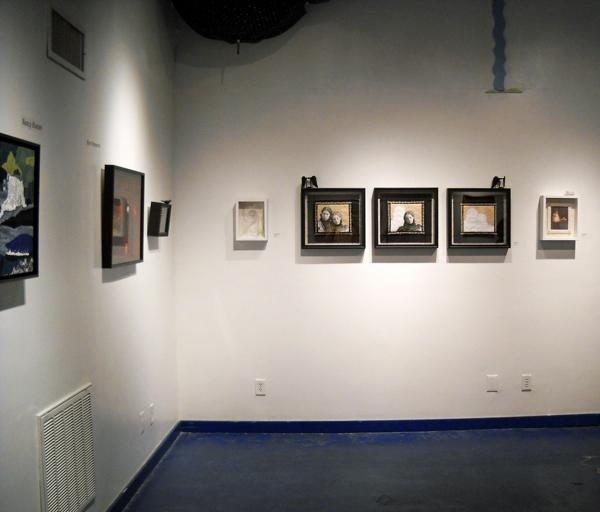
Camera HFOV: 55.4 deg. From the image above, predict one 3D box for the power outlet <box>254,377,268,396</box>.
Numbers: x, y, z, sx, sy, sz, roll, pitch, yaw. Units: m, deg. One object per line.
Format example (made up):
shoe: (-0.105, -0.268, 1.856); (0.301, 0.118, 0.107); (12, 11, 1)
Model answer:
power outlet: (-0.299, 0.999, 4.397); (0.090, 0.169, 0.102); (0, 1, 2)

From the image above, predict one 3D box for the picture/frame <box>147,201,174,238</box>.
picture/frame: (-1.000, -0.269, 3.940); (0.075, 0.241, 0.222); (8, 5, 32)

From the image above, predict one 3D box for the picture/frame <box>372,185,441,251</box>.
picture/frame: (0.805, -0.295, 4.347); (0.368, 0.434, 0.045); (-1, 1, 0)

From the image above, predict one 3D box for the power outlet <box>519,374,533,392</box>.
power outlet: (1.764, 0.976, 4.439); (0.081, 0.137, 0.021); (1, 3, -15)

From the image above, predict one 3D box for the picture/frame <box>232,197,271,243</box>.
picture/frame: (-0.368, -0.265, 4.396); (0.236, 0.330, 0.118); (0, -14, -7)

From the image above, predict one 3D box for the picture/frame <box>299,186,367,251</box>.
picture/frame: (0.253, -0.292, 4.334); (0.376, 0.424, 0.046); (-1, 0, 1)
